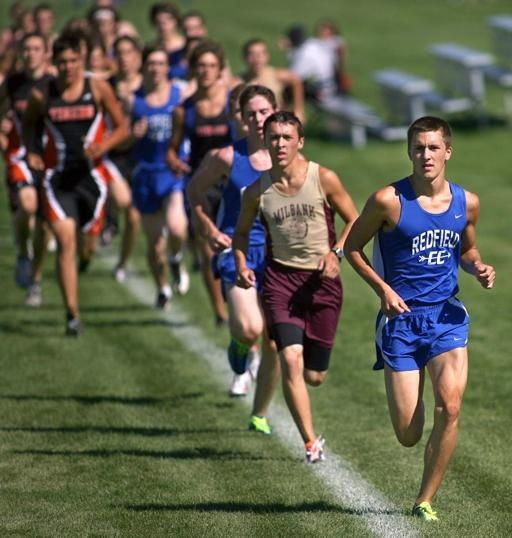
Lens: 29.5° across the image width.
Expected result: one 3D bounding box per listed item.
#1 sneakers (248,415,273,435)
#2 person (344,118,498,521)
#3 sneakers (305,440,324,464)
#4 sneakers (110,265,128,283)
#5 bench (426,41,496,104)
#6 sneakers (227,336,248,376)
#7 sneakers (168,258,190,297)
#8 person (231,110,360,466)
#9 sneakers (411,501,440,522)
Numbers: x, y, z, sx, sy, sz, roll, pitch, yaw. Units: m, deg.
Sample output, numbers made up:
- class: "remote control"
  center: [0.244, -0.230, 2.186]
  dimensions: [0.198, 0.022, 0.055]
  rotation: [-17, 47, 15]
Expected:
- class: "sneakers"
  center: [0.034, 0.867, 5.422]
  dimensions: [0.068, 0.076, 0.174]
  rotation: [-4, 7, -39]
- class: "person"
  center: [0.698, 0.207, 4.389]
  dimensions: [0.634, 1.762, 0.517]
  rotation: [9, 12, 20]
- class: "sneakers"
  center: [0.284, 0.880, 4.691]
  dimensions: [0.079, 0.080, 0.181]
  rotation: [-15, -13, 0]
- class: "sneakers"
  center: [-1.181, 0.039, 8.469]
  dimensions: [0.116, 0.152, 0.220]
  rotation: [3, 12, -8]
- class: "bench"
  center: [3.299, -3.110, 15.607]
  dimensions: [0.427, 0.755, 1.474]
  rotation: [-14, 24, -11]
- class: "sneakers"
  center: [-0.090, 0.500, 5.606]
  dimensions: [0.088, 0.250, 0.113]
  rotation: [-13, 27, -19]
- class: "sneakers"
  center: [-0.648, 0.065, 8.204]
  dimensions: [0.122, 0.359, 0.167]
  rotation: [-24, -17, 34]
- class: "person"
  center: [0.176, 0.010, 4.776]
  dimensions: [0.601, 1.520, 0.575]
  rotation: [5, 12, -2]
- class: "sneakers"
  center: [0.751, 1.066, 4.300]
  dimensions: [0.113, 0.065, 0.057]
  rotation: [28, 5, 17]
